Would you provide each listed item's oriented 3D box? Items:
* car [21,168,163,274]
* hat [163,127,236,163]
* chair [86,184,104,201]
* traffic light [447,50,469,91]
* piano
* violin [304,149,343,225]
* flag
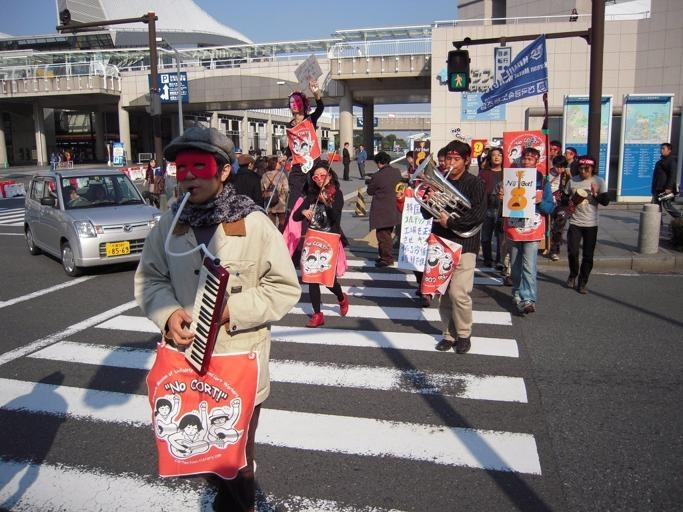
[{"bbox_3d":[-5.805,-0.947,12.470,3.969,2.141,2.179,10,15,40],"label":"car"},{"bbox_3d":[-0.963,-0.771,3.723,0.364,0.236,0.543,-4,-6,30],"label":"hat"},{"bbox_3d":[-5.404,-1.400,11.790,0.240,0.372,0.190,-22,5,-34],"label":"chair"},{"bbox_3d":[2.936,-4.630,13.512,0.583,1.049,0.327,0,-3,17],"label":"traffic light"},{"bbox_3d":[-0.837,0.375,3.334,0.290,0.738,0.182,-4,13,-14],"label":"piano"},{"bbox_3d":[-0.259,-0.951,7.869,0.392,1.212,0.374,13,17,36],"label":"violin"},{"bbox_3d":[3.797,-4.100,12.310,1.737,1.333,0.151,-6,32,29],"label":"flag"}]
